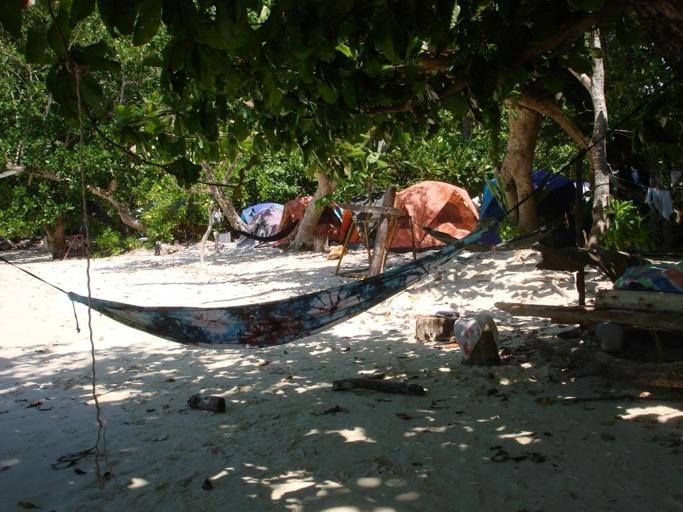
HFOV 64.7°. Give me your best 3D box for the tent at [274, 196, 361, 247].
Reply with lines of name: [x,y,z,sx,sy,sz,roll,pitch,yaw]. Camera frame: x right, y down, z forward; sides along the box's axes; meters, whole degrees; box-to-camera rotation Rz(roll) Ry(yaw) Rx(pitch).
tent: [-0.622,-1.068,16.912,2.565,1.096,1.758,2,4,21]

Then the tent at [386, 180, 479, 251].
tent: [2.547,-1.118,14.120,2.542,1.191,2.251,-3,2,-40]

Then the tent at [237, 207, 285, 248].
tent: [-2.664,-1.026,18.162,1.740,1.297,0.493,-14,-18,36]
